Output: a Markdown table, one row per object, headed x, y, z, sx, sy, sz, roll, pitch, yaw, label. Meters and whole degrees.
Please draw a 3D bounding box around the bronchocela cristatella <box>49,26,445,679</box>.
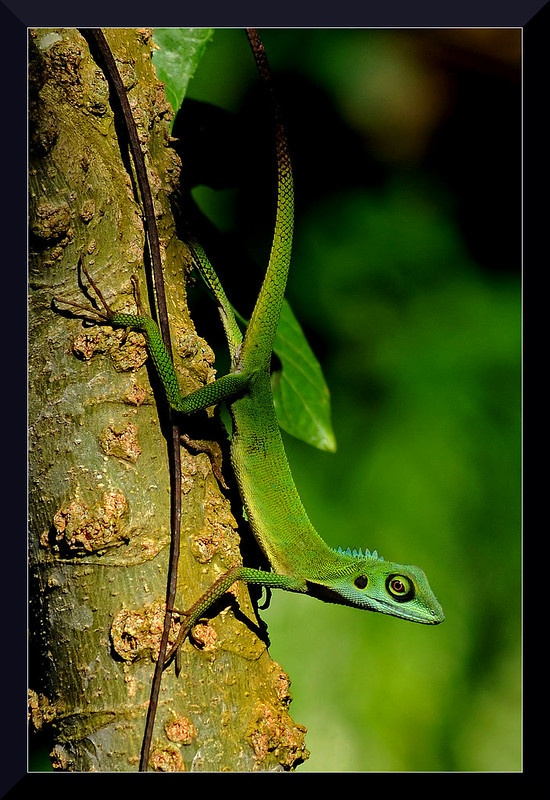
| x | y | z | sx | sy | sz | roll | pitch | yaw | label |
| --- | --- | --- | --- | --- | --- | --- | --- | --- | --- |
| -0.017 | 0.118 | 2.008 | 0.628 | 0.352 | 1.413 | 2 | 77 | -70 | bronchocela cristatella |
